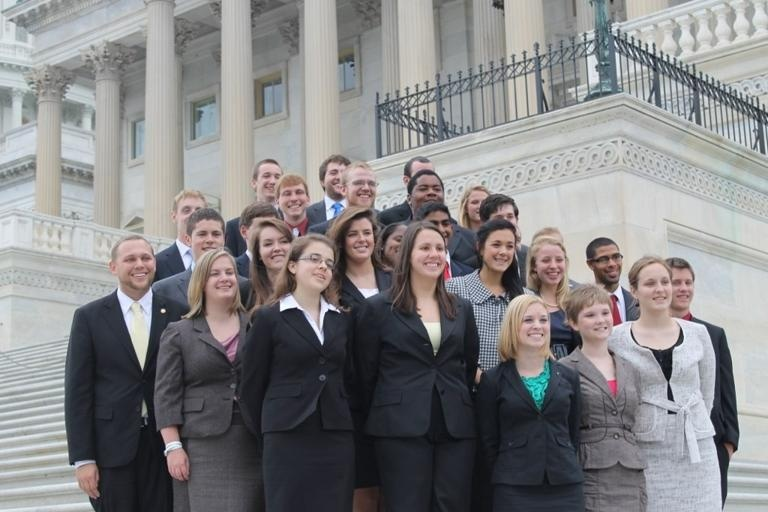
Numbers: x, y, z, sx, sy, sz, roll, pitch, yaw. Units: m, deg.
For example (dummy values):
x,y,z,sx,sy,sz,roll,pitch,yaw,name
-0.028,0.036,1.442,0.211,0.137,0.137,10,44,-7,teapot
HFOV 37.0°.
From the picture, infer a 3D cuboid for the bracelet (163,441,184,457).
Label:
x,y,z,sx,sy,sz,roll,pitch,yaw,name
-2.181,2.014,12.025,0.161,0.055,0.150,-24,-14,23,bracelet
